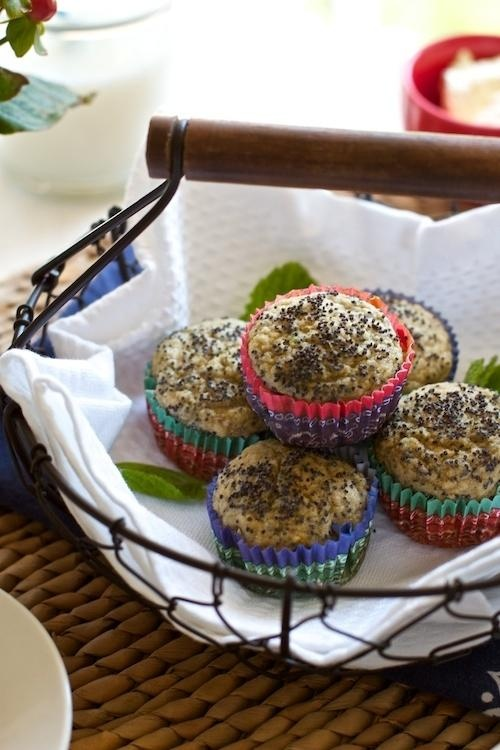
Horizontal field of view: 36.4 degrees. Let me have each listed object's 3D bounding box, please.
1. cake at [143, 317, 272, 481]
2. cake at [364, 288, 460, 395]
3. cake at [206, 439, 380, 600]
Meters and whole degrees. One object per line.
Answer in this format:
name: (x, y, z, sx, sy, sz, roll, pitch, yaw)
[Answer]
cake: (-0.056, 0.032, 0.904, 0.175, 0.118, 0.158, 1, 58, -7)
cake: (0.191, -0.029, 0.933, 0.119, 0.058, 0.110, -21, 58, -15)
cake: (0.036, 0.132, 0.739, 0.164, 0.093, 0.133, 5, 37, 11)
